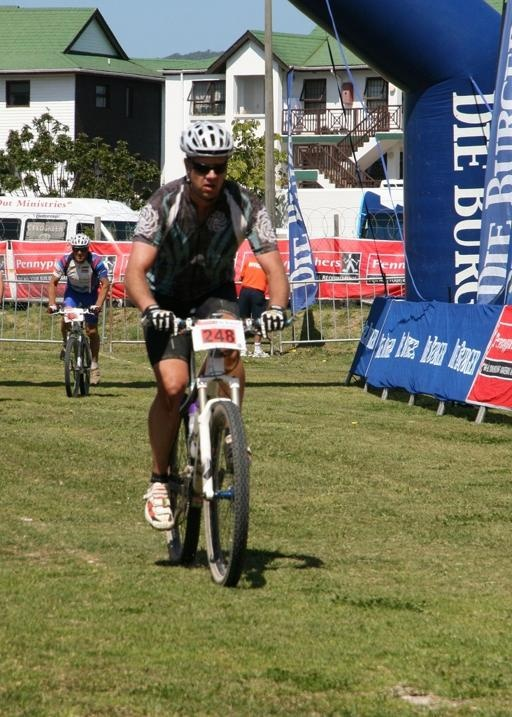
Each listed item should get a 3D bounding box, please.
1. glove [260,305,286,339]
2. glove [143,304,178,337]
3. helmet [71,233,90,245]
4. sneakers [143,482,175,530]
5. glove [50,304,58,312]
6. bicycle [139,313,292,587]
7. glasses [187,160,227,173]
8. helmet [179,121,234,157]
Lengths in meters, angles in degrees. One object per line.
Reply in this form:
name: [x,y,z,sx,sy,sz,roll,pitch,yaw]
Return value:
glove: [0.077,-0.160,5.851,0.092,0.141,0.062,1,39,-8]
glove: [-0.444,-0.176,5.724,0.167,0.136,0.200,2,6,1]
helmet: [-1.901,-1.267,13.414,0.182,0.143,0.247,1,6,-9]
sneakers: [-0.484,0.738,6.244,0.109,0.122,0.268,0,11,-15]
glove: [-2.183,-0.542,13.366,0.059,0.080,0.035,-2,1,-19]
bicycle: [-0.220,0.464,6.065,0.443,1.374,0.991,2,5,-4]
glasses: [-0.225,-0.901,5.859,0.181,0.068,0.104,2,6,-5]
helmet: [-0.231,-1.046,5.923,0.249,0.182,0.291,2,6,-4]
